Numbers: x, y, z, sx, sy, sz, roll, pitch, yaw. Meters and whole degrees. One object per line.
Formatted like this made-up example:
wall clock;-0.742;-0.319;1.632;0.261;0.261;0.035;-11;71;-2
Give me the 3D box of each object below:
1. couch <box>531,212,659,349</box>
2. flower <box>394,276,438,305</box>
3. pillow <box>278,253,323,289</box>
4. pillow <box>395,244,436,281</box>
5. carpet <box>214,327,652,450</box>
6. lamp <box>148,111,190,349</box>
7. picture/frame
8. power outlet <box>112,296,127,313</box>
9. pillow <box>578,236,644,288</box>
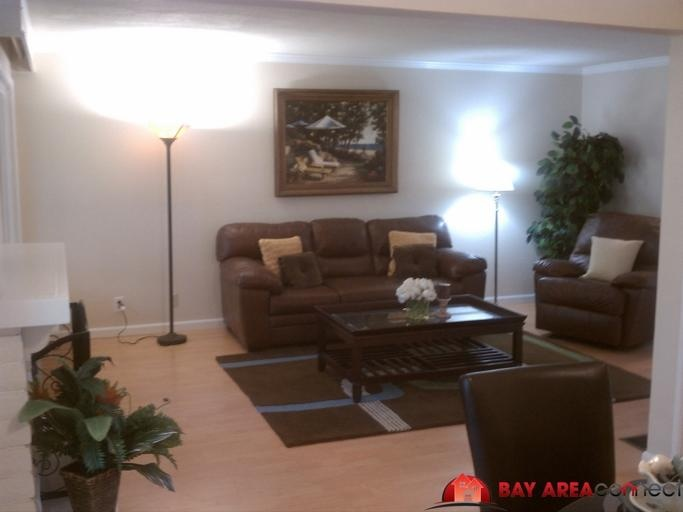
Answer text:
couch;2.627;0.209;5.589;1.056;1.160;1.326;8;15;35
flower;0.591;0.277;4.496;0.257;0.197;0.232;2;32;-2
pillow;-0.399;0.136;5.374;0.399;0.334;0.146;-7;-17;-29
pillow;0.837;0.030;5.861;0.619;0.381;0.212;-3;-17;30
carpet;0.803;1.035;5.333;2.872;0.058;3.854;-7;0;-1
lamp;-1.659;-0.256;5.451;0.389;2.150;0.768;-3;13;-7
picture/frame;-0.115;-1.280;6.025;1.413;0.976;0.055;-3;14;-17
power outlet;-2.224;0.482;5.549;0.160;0.192;0.137;-7;16;-26
pillow;2.691;0.038;5.538;0.302;0.442;0.550;-4;5;-36
